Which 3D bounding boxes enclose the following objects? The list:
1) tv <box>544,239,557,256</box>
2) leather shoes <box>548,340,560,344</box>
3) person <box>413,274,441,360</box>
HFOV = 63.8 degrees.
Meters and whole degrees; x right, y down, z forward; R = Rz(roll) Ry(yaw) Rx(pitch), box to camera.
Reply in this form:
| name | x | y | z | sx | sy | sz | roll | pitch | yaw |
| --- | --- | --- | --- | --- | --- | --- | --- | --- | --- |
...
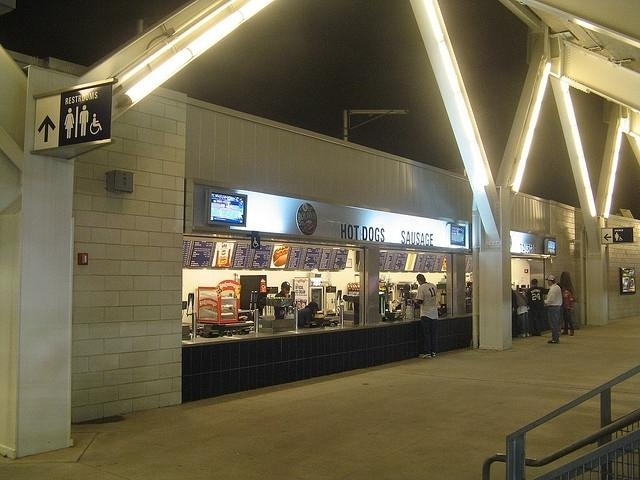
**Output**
| name | x | y | z | sx | sy | sz | roll | pitch | yaw |
| --- | --- | --- | --- | --- | --- | --- | --- | --- | --- |
| tv | 7.759 | 0.266 | 17.425 | 0.261 | 0.493 | 0.538 | -1 | -2 | 36 |
| leather shoes | 6.195 | 2.716 | 13.703 | 0.293 | 0.129 | 0.107 | 1 | -29 | 8 |
| person | 2.334 | 1.701 | 11.424 | 0.453 | 1.817 | 0.707 | -1 | -8 | 10 |
